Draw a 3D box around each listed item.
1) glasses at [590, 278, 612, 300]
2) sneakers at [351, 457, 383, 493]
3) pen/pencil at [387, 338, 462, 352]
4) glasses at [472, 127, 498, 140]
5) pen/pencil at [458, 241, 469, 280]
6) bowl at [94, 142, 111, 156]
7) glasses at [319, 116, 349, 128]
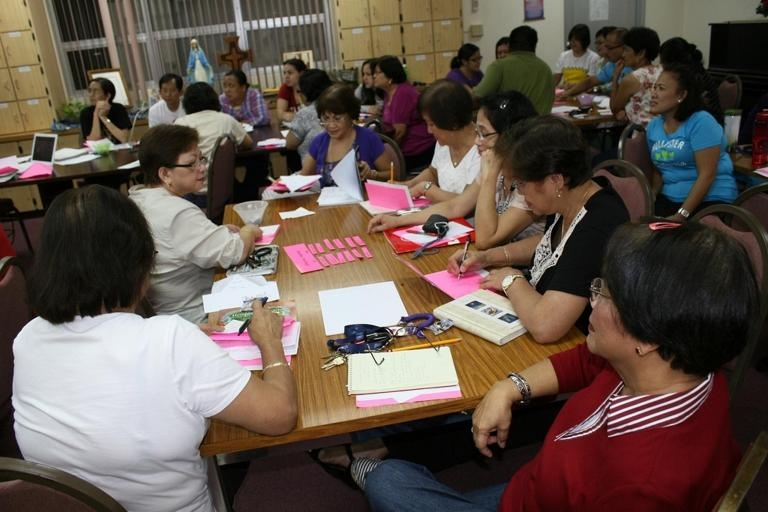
[{"bbox_3d":[0.541,0.082,1.289,0.041,0.017,0.043,-17,32,-2],"label":"glasses"},{"bbox_3d":[-0.049,0.661,1.560,0.098,0.066,0.126,-46,0,-37],"label":"sneakers"},{"bbox_3d":[0.142,0.298,1.725,0.210,0.016,0.017,-6,-23,-33],"label":"pen/pencil"},{"bbox_3d":[0.494,-0.590,2.469,0.069,0.024,0.070,-8,27,-10],"label":"glasses"},{"bbox_3d":[0.328,0.023,2.119,0.022,0.022,0.187,19,53,1],"label":"pen/pencil"},{"bbox_3d":[-2.602,-0.993,4.805,0.141,0.086,0.149,-3,9,0],"label":"bowl"},{"bbox_3d":[-0.316,-0.866,3.330,0.096,0.036,0.106,1,28,9],"label":"glasses"}]
